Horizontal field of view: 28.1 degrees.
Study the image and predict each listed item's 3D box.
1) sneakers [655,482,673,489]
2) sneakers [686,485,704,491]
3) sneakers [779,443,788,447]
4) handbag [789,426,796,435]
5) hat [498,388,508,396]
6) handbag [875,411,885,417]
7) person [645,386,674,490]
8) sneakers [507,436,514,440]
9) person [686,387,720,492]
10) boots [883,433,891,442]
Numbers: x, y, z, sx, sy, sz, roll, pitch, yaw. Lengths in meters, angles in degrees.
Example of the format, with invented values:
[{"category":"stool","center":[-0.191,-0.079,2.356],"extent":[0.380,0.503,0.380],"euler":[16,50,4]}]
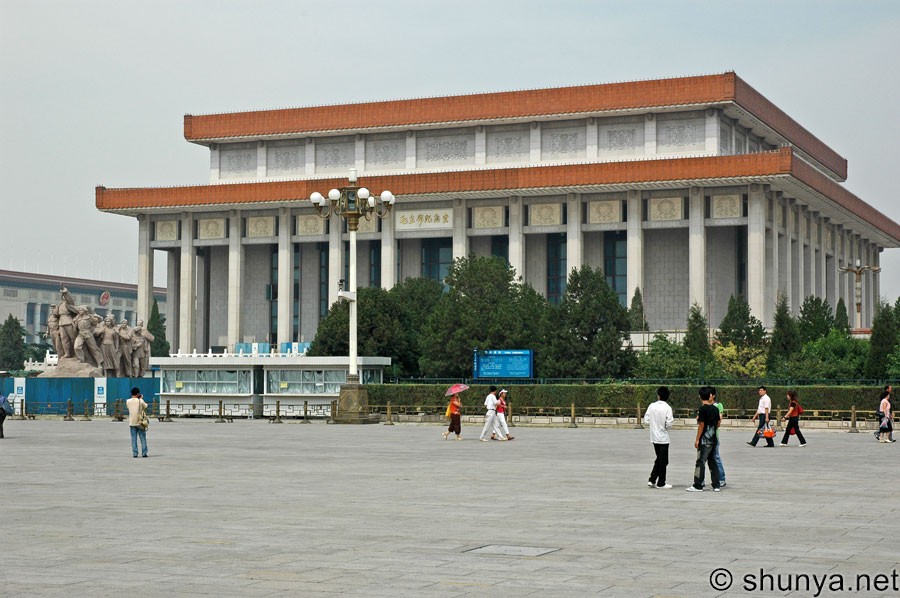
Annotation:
[{"category":"sneakers","center":[7.916,6.935,66.856],"extent":[0.614,0.267,0.224],"euler":[-3,0,-3]},{"category":"sneakers","center":[8.966,7.005,66.499],"extent":[0.535,0.221,0.206],"euler":[2,-6,35]},{"category":"sneakers","center":[14.860,6.533,80.622],"extent":[0.335,0.146,0.126],"euler":[-5,-2,38]},{"category":"handbag","center":[15.183,5.835,80.232],"extent":[0.403,0.412,0.147],"euler":[-2,-6,11]},{"category":"hat","center":[2.491,4.419,85.704],"extent":[0.487,0.238,0.664],"euler":[0,-4,13]},{"category":"handbag","center":[19.842,5.364,83.397],"extent":[0.425,0.194,0.433],"euler":[-2,-2,30]},{"category":"person","center":[7.773,5.175,67.210],"extent":[0.876,3.852,1.112],"euler":[-1,-7,7]},{"category":"sneakers","center":[2.777,6.414,82.977],"extent":[0.226,0.116,0.170],"euler":[10,-3,5]},{"category":"person","center":[9.470,5.213,66.921],"extent":[1.000,3.903,1.159],"euler":[-1,-7,8]},{"category":"boots","center":[19.945,6.368,82.311],"extent":[0.343,0.417,0.672],"euler":[-2,-7,10]}]
